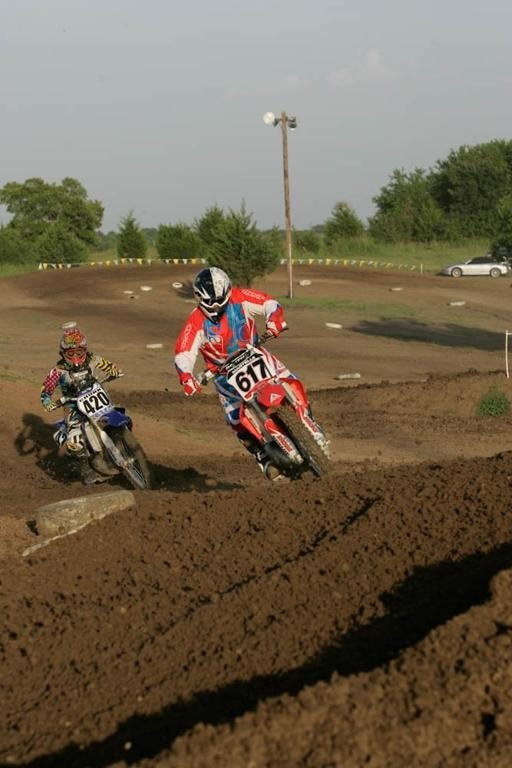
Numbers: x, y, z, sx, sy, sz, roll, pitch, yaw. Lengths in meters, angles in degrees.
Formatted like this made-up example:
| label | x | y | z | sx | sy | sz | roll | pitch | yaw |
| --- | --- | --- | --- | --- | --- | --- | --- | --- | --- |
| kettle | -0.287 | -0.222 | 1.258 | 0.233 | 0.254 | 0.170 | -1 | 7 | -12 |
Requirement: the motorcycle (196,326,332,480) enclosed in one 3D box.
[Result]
| label | x | y | z | sx | sy | sz | roll | pitch | yaw |
| --- | --- | --- | --- | --- | --- | --- | --- | --- | --- |
| motorcycle | 0.157 | 0.272 | 5.949 | 0.762 | 1.430 | 0.715 | -10 | 9 | 17 |

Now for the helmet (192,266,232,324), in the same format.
| label | x | y | z | sx | sy | sz | roll | pitch | yaw |
| --- | --- | --- | --- | --- | --- | --- | --- | --- | --- |
| helmet | -0.357 | -0.750 | 5.674 | 0.337 | 0.405 | 0.403 | -3 | -33 | 1 |

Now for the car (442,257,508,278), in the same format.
| label | x | y | z | sx | sy | sz | roll | pitch | yaw |
| --- | --- | --- | --- | --- | --- | --- | --- | --- | --- |
| car | 12.590 | -6.613 | 37.836 | 3.426 | 1.119 | 1.406 | 3 | 5 | 11 |

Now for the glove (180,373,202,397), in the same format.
| label | x | y | z | sx | sy | sz | roll | pitch | yaw |
| --- | --- | --- | --- | --- | --- | --- | --- | --- | --- |
| glove | -0.548 | 0.026 | 5.630 | 0.139 | 0.161 | 0.325 | -14 | 9 | -8 |

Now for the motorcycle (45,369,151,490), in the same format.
| label | x | y | z | sx | sy | sz | roll | pitch | yaw |
| --- | --- | --- | --- | --- | --- | --- | --- | --- | --- |
| motorcycle | -1.640 | 0.560 | 6.875 | 0.720 | 0.900 | 1.175 | -17 | 10 | -29 |
